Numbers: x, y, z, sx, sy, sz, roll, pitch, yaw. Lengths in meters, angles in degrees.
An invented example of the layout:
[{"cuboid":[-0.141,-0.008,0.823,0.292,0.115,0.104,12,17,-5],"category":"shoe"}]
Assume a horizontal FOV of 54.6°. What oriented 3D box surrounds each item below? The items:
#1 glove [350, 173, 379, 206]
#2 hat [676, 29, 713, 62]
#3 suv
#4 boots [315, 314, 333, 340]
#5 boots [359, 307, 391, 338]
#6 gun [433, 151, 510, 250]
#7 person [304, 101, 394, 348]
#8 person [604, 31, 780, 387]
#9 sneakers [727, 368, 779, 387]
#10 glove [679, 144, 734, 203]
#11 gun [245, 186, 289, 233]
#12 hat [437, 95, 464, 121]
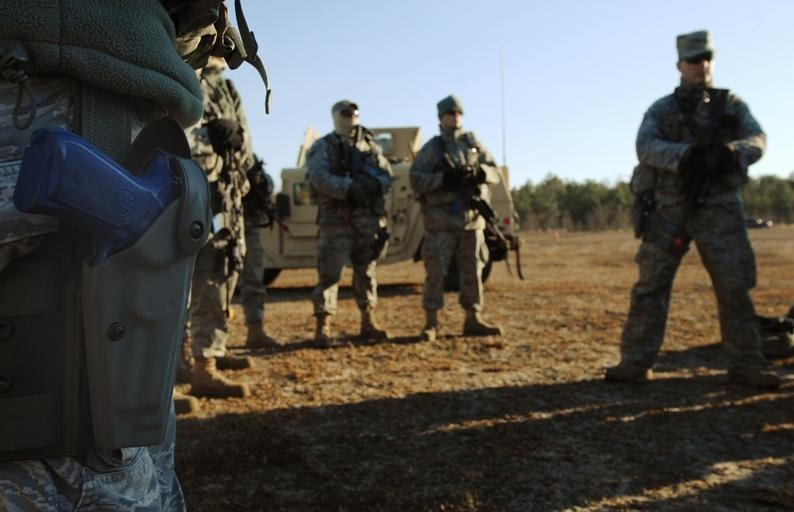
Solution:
[{"cuboid":[-0.220,-0.469,5.454,0.248,0.230,0.121,-3,5,-19],"category":"glove"},{"cuboid":[1.549,-1.106,3.985,0.179,0.141,0.351,0,6,21],"category":"hat"},{"cuboid":[-0.126,-0.413,7.898,2.447,1.514,1.679,0,2,0],"category":"suv"},{"cuboid":[-0.542,0.526,5.634,0.173,0.219,0.119,-1,1,-10],"category":"boots"},{"cuboid":[-0.193,0.497,5.829,0.236,0.290,0.121,1,6,6],"category":"boots"},{"cuboid":[0.619,-0.461,5.902,0.377,0.858,0.890,1,6,30],"category":"gun"},{"cuboid":[-0.320,-0.228,5.599,0.625,1.761,0.428,-3,5,-22],"category":"person"},{"cuboid":[1.607,-0.245,4.134,0.822,1.887,0.346,1,5,28],"category":"person"},{"cuboid":[1.888,0.639,4.027,0.270,0.087,0.138,0,5,15],"category":"sneakers"},{"cuboid":[1.603,-0.442,3.996,0.250,0.307,0.083,6,32,13],"category":"glove"},{"cuboid":[-0.957,-0.300,5.394,0.151,0.433,0.143,-26,58,-27],"category":"gun"},{"cuboid":[0.393,-1.102,5.688,0.168,0.158,0.110,-1,5,8],"category":"hat"}]
